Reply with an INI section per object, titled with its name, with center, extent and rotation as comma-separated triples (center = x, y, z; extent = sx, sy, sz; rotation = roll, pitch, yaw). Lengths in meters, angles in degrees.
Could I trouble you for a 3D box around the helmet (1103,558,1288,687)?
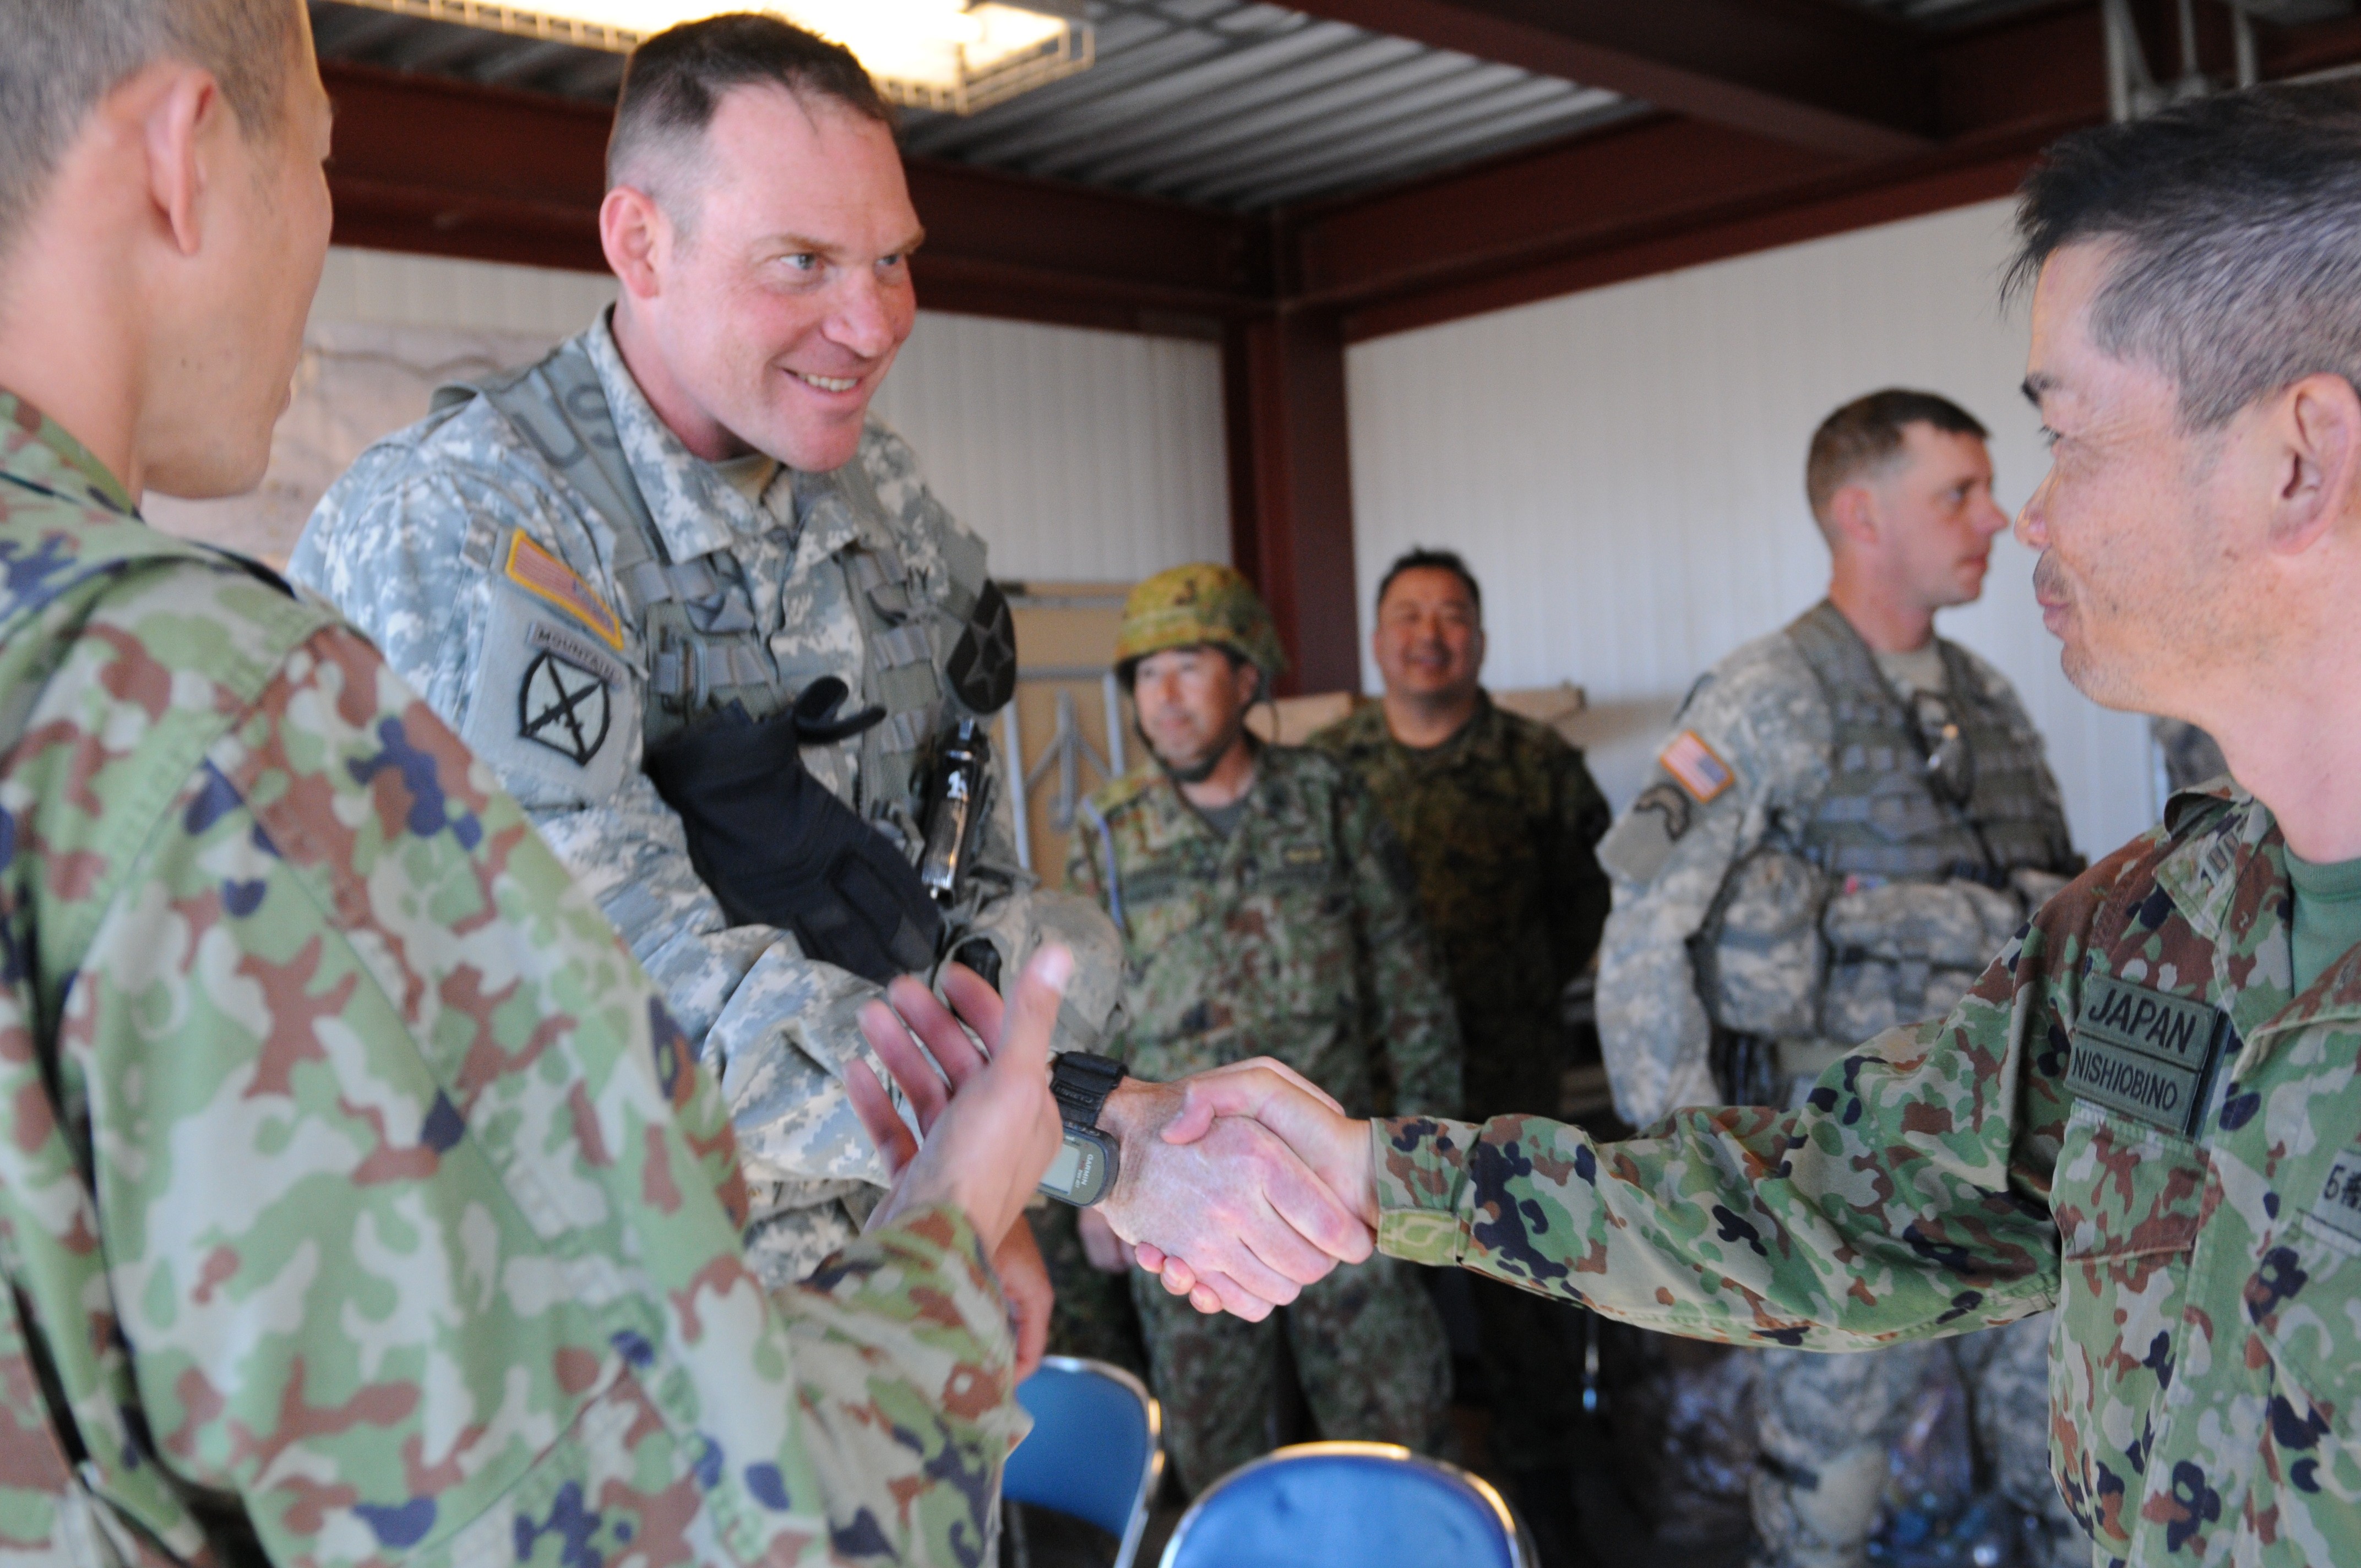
[helmet]
center = 0.047, -0.370, 4.956
extent = 0.235, 0.253, 0.310
rotation = 6, 12, 33
